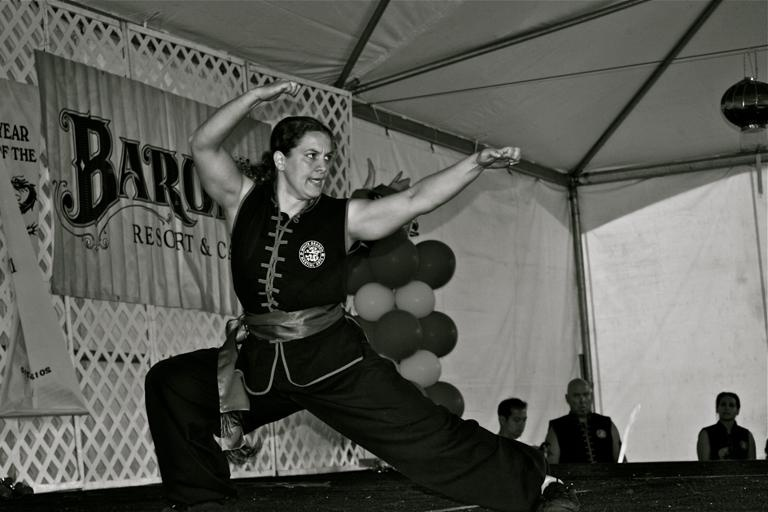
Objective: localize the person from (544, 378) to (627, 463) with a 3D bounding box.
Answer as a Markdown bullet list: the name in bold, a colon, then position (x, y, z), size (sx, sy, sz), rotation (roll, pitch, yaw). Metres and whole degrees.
- **person**: position (1.878, 1.557, 13.641), size (0.867, 0.905, 0.501), rotation (-2, -26, 1)
